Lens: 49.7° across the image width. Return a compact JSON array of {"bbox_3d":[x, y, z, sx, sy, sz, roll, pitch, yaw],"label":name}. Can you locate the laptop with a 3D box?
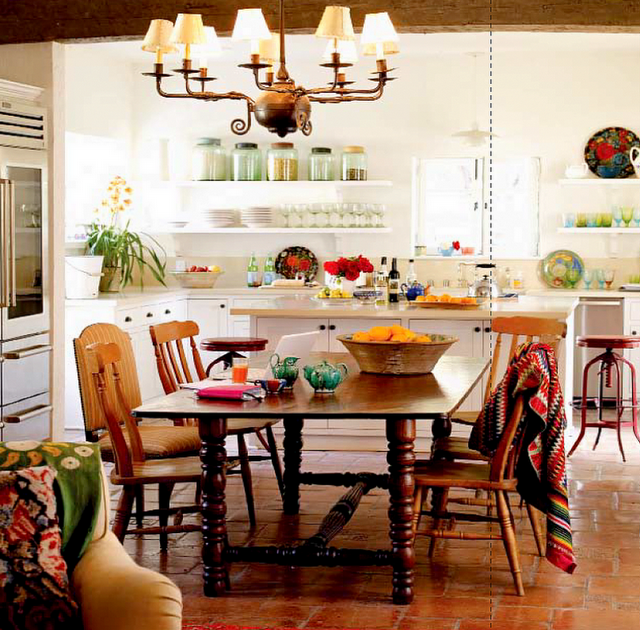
[{"bbox_3d":[-0.254,0.142,3.063,0.357,0.203,0.370,3,3,27],"label":"laptop"}]

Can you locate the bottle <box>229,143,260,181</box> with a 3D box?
[{"bbox_3d":[-0.763,-1.542,7.083,0.375,0.391,0.361,0,1,-3],"label":"bottle"}]

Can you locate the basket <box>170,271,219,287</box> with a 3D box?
[{"bbox_3d":[-1.307,-0.366,7.178,0.463,0.179,0.209,-1,2,-12],"label":"basket"}]

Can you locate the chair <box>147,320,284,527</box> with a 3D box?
[{"bbox_3d":[-0.541,0.516,3.637,0.677,0.943,0.679,4,4,30],"label":"chair"}]

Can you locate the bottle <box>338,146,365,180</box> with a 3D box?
[{"bbox_3d":[0.327,-1.543,7.057,0.281,0.373,0.231,-1,2,-12],"label":"bottle"}]

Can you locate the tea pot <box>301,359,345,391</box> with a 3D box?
[{"bbox_3d":[0.011,0.234,2.785,0.147,0.097,0.135,-1,2,0],"label":"tea pot"}]

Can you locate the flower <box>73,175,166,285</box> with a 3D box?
[{"bbox_3d":[-1.953,-0.786,6.750,1.036,0.941,1.159,0,9,-9],"label":"flower"}]

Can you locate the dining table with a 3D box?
[{"bbox_3d":[0.056,0.677,3.124,1.103,0.718,1.548,-2,0,14],"label":"dining table"}]

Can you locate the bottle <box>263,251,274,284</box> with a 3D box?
[{"bbox_3d":[-0.566,-0.489,7.349,0.121,0.334,0.302,0,2,-5],"label":"bottle"}]

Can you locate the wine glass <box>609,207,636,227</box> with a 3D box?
[{"bbox_3d":[2.955,-0.949,6.819,0.207,0.303,0.207,-1,0,-12],"label":"wine glass"}]

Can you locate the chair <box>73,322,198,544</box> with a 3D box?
[{"bbox_3d":[-0.767,0.526,3.085,0.523,0.930,0.528,-18,-24,30],"label":"chair"}]

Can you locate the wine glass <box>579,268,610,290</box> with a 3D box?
[{"bbox_3d":[2.665,-0.348,6.777,0.249,0.164,0.199,0,5,20],"label":"wine glass"}]

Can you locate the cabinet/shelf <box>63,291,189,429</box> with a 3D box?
[{"bbox_3d":[-1.770,0.334,6.418,0.593,1.082,1.689,2,5,12],"label":"cabinet/shelf"}]

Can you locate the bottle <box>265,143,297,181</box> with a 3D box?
[{"bbox_3d":[-0.410,-1.549,7.082,0.366,0.382,0.352,0,1,-2],"label":"bottle"}]

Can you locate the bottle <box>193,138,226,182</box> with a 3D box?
[{"bbox_3d":[-1.149,-1.596,7.191,0.419,0.433,0.404,0,2,-1],"label":"bottle"}]

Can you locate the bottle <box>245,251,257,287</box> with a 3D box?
[{"bbox_3d":[-0.735,-0.469,7.351,0.154,0.347,0.429,0,2,-6],"label":"bottle"}]

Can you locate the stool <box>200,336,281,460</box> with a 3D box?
[{"bbox_3d":[-0.599,0.435,4.493,0.481,0.661,0.476,6,14,1],"label":"stool"}]

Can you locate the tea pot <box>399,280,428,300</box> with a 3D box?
[{"bbox_3d":[0.753,-0.205,5.776,0.269,0.275,0.223,0,4,5],"label":"tea pot"}]

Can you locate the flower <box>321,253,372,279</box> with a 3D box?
[{"bbox_3d":[0.188,-0.366,5.417,0.290,0.160,0.282,2,-2,-9],"label":"flower"}]

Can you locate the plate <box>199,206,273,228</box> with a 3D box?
[{"bbox_3d":[-0.868,-1.024,7.293,0.693,0.222,0.256,0,2,5],"label":"plate"}]

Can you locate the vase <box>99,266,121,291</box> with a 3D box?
[{"bbox_3d":[-1.918,-0.324,6.287,0.181,0.230,0.205,-1,2,-17],"label":"vase"}]

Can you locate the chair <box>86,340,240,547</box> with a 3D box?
[{"bbox_3d":[-0.657,0.531,2.763,0.510,0.787,0.449,-1,1,-16],"label":"chair"}]

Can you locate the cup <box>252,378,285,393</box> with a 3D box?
[{"bbox_3d":[-0.202,0.274,2.723,0.090,0.035,0.061,-1,-2,43],"label":"cup"}]
